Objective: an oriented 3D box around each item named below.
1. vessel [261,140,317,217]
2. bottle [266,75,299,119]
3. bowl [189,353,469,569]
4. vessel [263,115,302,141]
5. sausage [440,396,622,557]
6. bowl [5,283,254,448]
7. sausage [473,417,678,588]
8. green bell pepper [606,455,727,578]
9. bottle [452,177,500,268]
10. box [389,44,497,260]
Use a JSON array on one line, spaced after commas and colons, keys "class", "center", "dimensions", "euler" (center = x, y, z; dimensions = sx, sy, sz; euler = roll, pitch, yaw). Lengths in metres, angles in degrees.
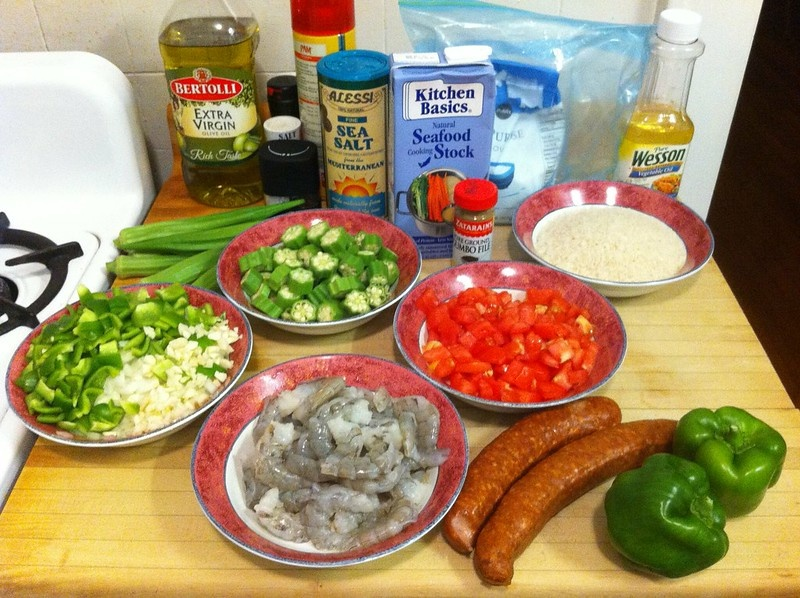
[{"class": "vessel", "center": [-0.295, -0.341, 1.769], "dimensions": [0.157, 0.247, 0.140], "euler": [-14, 62, -11]}, {"class": "bottle", "center": [-0.311, -0.567, 1.848], "dimensions": [0.103, 0.125, 0.112], "euler": [-4, 37, -3]}, {"class": "bowl", "center": [-0.126, 0.289, 1.219], "dimensions": [0.495, 0.100, 0.431], "euler": [13, 47, 11]}, {"class": "vessel", "center": [-0.319, -0.460, 1.756], "dimensions": [0.083, 0.058, 0.088], "euler": [2, 47, -3]}, {"class": "sausage", "center": [0.259, 0.322, 1.319], "dimensions": [0.487, 0.120, 0.152], "euler": [-35, 42, -20]}, {"class": "bowl", "center": [-0.552, 0.143, 1.326], "dimensions": [0.352, 0.159, 0.376], "euler": [4, 45, -4]}, {"class": "sausage", "center": [0.362, 0.351, 1.283], "dimensions": [0.522, 0.133, 0.161], "euler": [-30, 46, -18]}, {"class": "green bell pepper", "center": [0.479, 0.387, 1.179], "dimensions": [0.205, 0.132, 0.183], "euler": [4, 45, 3]}, {"class": "bottle", "center": [0.180, -0.179, 1.601], "dimensions": [0.106, 0.207, 0.126], "euler": [3, 34, 6]}, {"class": "box", "center": [0.116, -0.370, 1.674], "dimensions": [0.249, 0.522, 0.187], "euler": [5, 39, 12]}]
